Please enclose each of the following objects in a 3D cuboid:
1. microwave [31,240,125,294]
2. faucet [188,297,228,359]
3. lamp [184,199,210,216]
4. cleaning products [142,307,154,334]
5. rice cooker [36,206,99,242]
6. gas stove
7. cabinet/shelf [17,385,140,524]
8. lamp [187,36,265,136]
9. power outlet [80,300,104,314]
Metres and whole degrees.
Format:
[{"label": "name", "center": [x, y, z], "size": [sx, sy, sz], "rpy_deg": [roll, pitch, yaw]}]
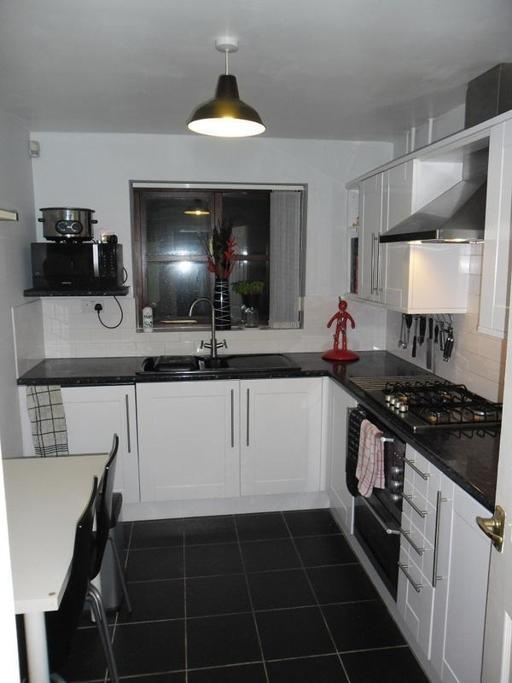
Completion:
[{"label": "microwave", "center": [-1.114, -0.457, 3.268], "size": [0.523, 0.329, 0.231], "rpy_deg": [-3, 7, -23]}, {"label": "faucet", "center": [-0.339, -0.106, 3.736], "size": [0.267, 0.421, 0.630], "rpy_deg": [-1, 7, -7]}, {"label": "lamp", "center": [-0.435, -0.986, 3.903], "size": [0.128, 0.070, 0.133], "rpy_deg": [6, 12, 33]}, {"label": "cleaning products", "center": [-0.777, -0.160, 3.775], "size": [0.067, 0.183, 0.078], "rpy_deg": [-3, 7, -23]}, {"label": "rice cooker", "center": [-1.165, -0.681, 3.243], "size": [0.260, 0.153, 0.238], "rpy_deg": [-5, 13, -29]}, {"label": "gas stove", "center": [0.849, 0.283, 2.505], "size": [0.538, 0.071, 0.773], "rpy_deg": [-1, 7, -7]}, {"label": "cabinet/shelf", "center": [-1.102, 0.567, 3.612], "size": [0.636, 1.325, 0.674], "rpy_deg": [-3, 9, -10]}, {"label": "lamp", "center": [-0.102, -0.910, 1.864], "size": [0.244, 0.286, 0.251], "rpy_deg": [2, 14, 3]}, {"label": "power outlet", "center": [-1.166, -0.245, 3.623], "size": [0.135, 0.097, 0.034], "rpy_deg": [-5, 8, -5]}]
